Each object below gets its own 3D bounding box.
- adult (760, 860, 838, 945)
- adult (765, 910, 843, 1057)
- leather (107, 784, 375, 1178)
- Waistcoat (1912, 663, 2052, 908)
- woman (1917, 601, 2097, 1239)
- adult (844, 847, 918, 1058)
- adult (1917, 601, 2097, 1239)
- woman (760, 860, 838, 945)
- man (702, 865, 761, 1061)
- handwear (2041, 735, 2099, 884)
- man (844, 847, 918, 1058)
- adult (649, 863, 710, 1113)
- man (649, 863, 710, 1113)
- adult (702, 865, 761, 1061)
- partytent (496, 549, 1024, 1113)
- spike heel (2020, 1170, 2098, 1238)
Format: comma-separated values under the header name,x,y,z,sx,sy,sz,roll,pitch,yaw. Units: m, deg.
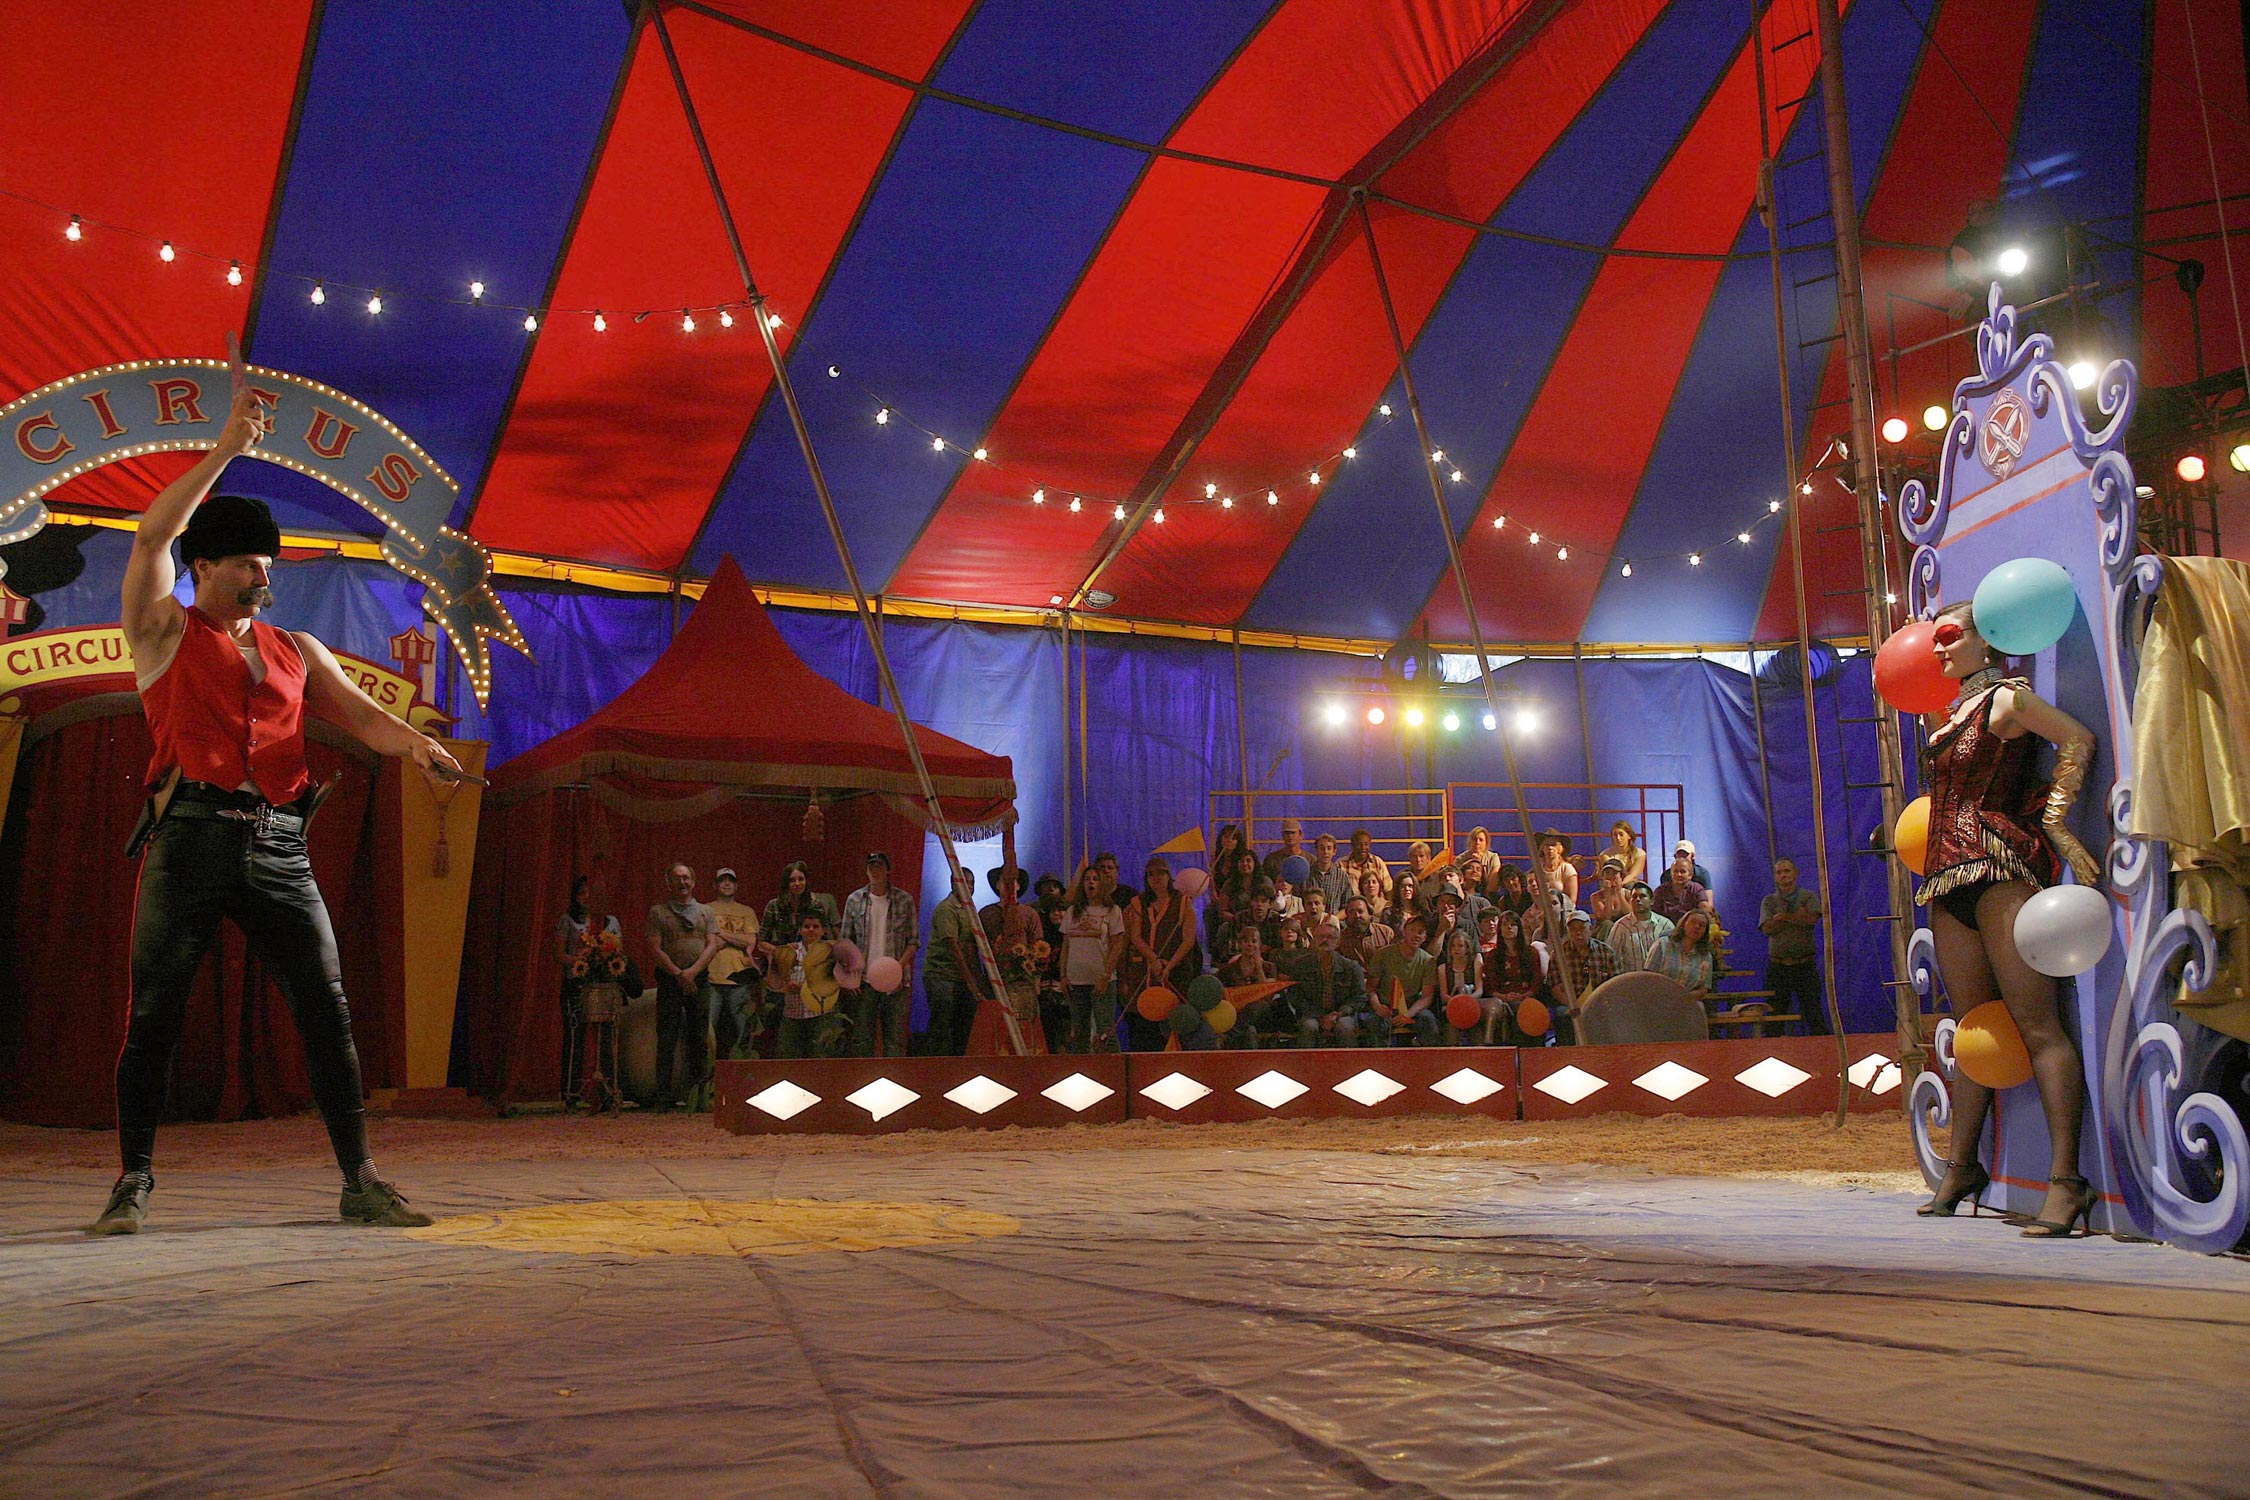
name,x,y,z,sx,sy,sz,roll,pitch,yaw
adult,-2.458,1.141,11.992,0.438,0.649,0.249,1,-16,-14
adult,-2.145,1.599,11.037,0.627,0.961,0.381,-3,-5,42
leather,-2.904,0.767,5.319,0.705,1.277,0.531,3,-5,-35
Waistcoat,3.001,0.125,5.594,0.337,0.793,0.553,15,-23,-12
woman,3.032,0.532,5.530,0.545,2.137,0.408,-2,-4,34
adult,-1.737,1.427,11.282,0.484,1.411,0.700,1,-4,-10
adult,3.030,0.532,5.527,0.545,2.137,0.415,-2,-4,34
woman,-2.458,1.141,11.992,0.438,0.649,0.249,1,-16,-14
man,-2.772,1.617,11.393,0.391,1.091,0.565,1,-4,-13
handwear,3.200,0.211,5.437,0.154,0.477,0.149,-3,-5,39
man,-1.734,1.427,11.282,0.485,1.411,0.694,1,-4,-11
adult,-3.145,1.661,11.338,0.435,1.684,0.585,1,-4,-15
man,-3.145,1.661,11.338,0.435,1.684,0.585,1,-4,-15
adult,-2.772,1.617,11.393,0.391,1.091,0.565,1,-4,-13
partytent,-3.017,0.079,12.773,3.847,4.261,3.801,3,-12,-31
spike heel,3.016,1.502,5.299,0.382,0.234,0.142,4,-16,-23
